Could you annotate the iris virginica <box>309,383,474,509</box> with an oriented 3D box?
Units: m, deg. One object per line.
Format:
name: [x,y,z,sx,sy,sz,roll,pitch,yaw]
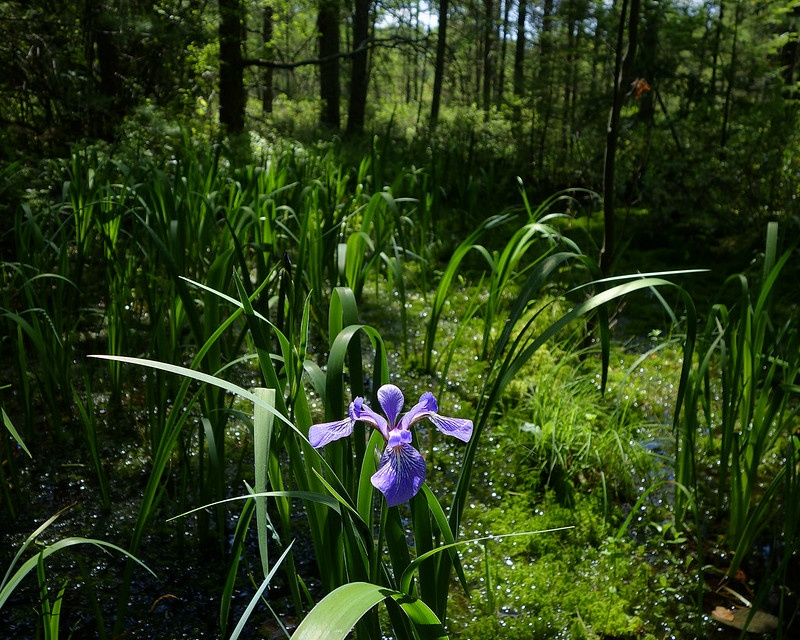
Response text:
iris virginica: [0.003,0.417,3.207,0.570,0.262,0.625,-2,17,-14]
